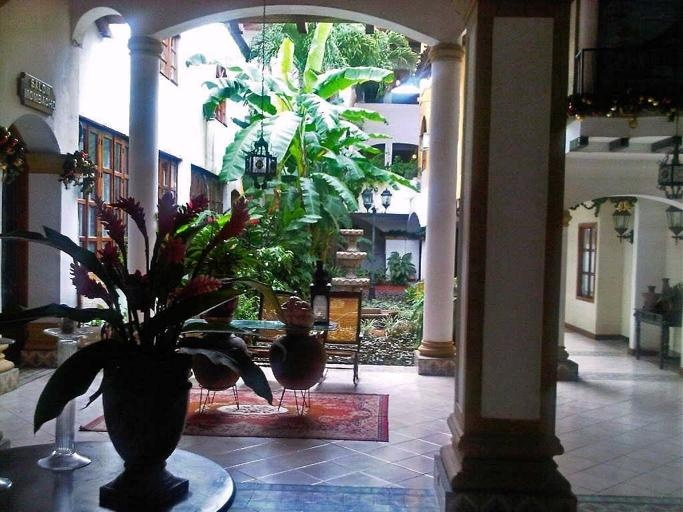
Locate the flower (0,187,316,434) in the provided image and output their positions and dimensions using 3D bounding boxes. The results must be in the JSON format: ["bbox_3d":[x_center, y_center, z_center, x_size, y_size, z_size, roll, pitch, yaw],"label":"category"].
[{"bbox_3d":[-0.823,0.229,2.769,1.087,0.798,1.198,1,2,-3],"label":"flower"}]

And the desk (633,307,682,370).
[{"bbox_3d":[4.364,1.063,8.259,0.682,0.872,0.960,1,2,10],"label":"desk"}]

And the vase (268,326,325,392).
[{"bbox_3d":[-0.408,0.918,5.464,0.541,0.627,0.532,1,5,6],"label":"vase"}]
